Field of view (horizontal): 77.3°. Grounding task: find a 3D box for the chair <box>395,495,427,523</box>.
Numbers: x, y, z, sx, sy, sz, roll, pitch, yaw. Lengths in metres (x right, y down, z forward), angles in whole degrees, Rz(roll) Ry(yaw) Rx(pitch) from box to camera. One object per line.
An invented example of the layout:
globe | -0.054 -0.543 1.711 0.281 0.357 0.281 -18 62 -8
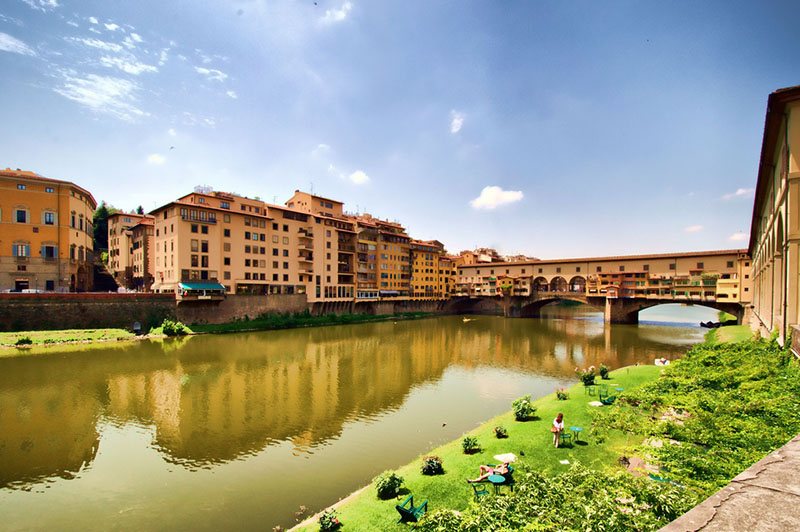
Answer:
chair | 0.782 15.245 31.394 1.401 1.400 1.866 8 10 28

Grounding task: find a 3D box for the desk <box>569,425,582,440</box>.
desk | 13.003 12.273 37.153 0.870 0.982 1.272 -1 -2 20
